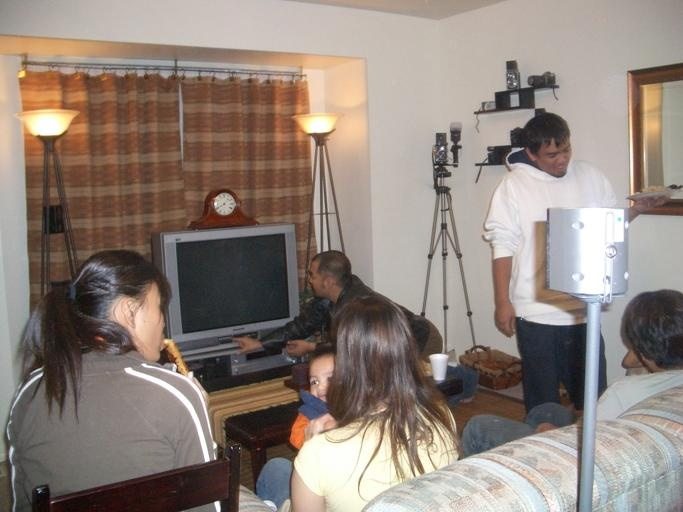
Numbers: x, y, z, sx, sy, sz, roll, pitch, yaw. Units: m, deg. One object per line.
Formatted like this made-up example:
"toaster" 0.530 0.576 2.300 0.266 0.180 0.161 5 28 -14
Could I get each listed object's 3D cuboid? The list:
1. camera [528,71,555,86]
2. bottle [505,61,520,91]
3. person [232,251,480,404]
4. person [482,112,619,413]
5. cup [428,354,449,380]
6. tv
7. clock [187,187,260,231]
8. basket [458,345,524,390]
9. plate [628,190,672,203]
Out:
"camera" 1.402 -1.233 3.906 0.151 0.078 0.106 -10 15 -14
"bottle" 1.248 -1.313 4.059 0.087 0.203 0.058 -3 5 9
"person" 0.123 0.517 3.714 1.584 1.154 0.556 0 21 3
"person" 1.146 0.224 2.878 0.741 1.842 0.611 -4 1 14
"cup" 0.540 0.615 3.154 0.128 0.138 0.126 0 6 0
"tv" -0.807 0.215 3.853 0.967 0.797 0.529 -6 3 -28
"clock" -0.779 -0.313 3.809 0.458 0.282 0.131 -5 -8 3
"basket" 1.134 0.808 4.250 0.297 0.174 0.372 -9 11 -27
"plate" 1.714 -0.333 3.089 0.197 0.053 0.197 0 6 32
